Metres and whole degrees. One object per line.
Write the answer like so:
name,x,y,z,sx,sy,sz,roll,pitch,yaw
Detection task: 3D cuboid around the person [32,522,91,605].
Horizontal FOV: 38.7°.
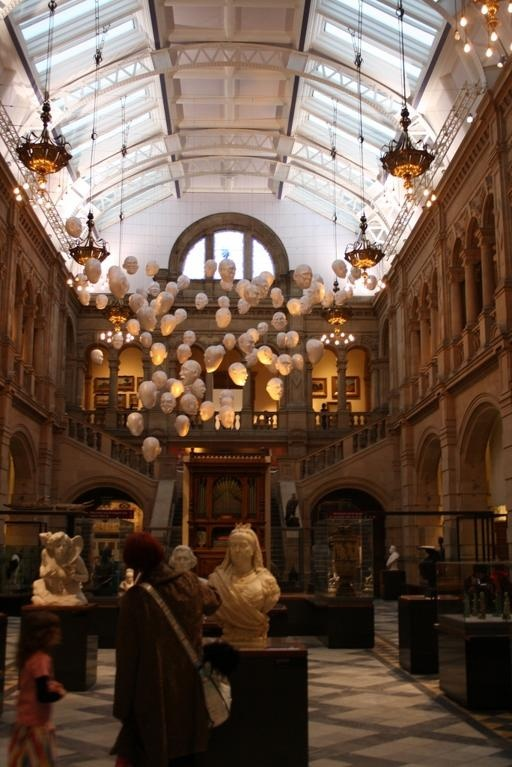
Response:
person,-2.140,2.040,8.076,0.554,0.784,1.179,6,-16,-14

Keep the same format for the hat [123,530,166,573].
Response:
hat,-0.438,0.661,2.885,0.145,0.162,0.179,0,-18,-9

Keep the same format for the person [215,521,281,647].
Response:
person,-0.078,1.343,4.899,0.481,0.788,0.474,3,-16,-3
